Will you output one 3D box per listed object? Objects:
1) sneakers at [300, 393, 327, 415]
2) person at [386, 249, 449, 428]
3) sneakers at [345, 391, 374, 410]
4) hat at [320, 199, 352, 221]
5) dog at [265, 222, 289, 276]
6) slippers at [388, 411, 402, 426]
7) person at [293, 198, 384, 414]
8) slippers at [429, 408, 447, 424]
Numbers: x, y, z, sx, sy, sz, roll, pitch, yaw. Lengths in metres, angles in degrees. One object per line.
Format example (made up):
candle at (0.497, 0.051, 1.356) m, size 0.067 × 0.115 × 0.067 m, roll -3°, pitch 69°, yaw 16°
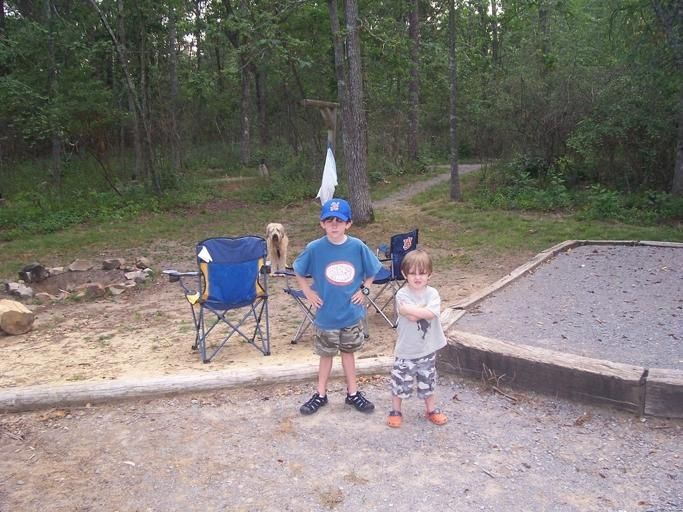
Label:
sneakers at (-0.300, 1.631, 7.055) m, size 0.131 × 0.159 × 0.341 m, roll 3°, pitch 10°, yaw 40°
person at (0.778, 0.871, 6.800) m, size 0.620 × 1.804 × 0.597 m, roll -2°, pitch 14°, yaw 6°
sneakers at (0.196, 1.608, 7.027) m, size 0.294 × 0.140 × 0.152 m, roll 12°, pitch 20°, yaw 32°
hat at (-0.066, -0.498, 6.964) m, size 0.317 × 0.242 × 0.231 m, roll -5°, pitch 14°, yaw -8°
dog at (-1.292, -0.130, 13.214) m, size 0.413 × 1.011 × 1.405 m, roll -4°, pitch 2°, yaw -2°
slippers at (0.560, 1.740, 6.775) m, size 0.138 × 0.140 × 0.128 m, roll -1°, pitch 14°, yaw 8°
person at (-0.040, 0.530, 7.021) m, size 0.918 × 2.265 × 0.694 m, roll -4°, pitch 14°, yaw -4°
slippers at (1.019, 1.721, 6.795) m, size 0.104 × 0.079 × 0.181 m, roll -11°, pitch 5°, yaw -30°
